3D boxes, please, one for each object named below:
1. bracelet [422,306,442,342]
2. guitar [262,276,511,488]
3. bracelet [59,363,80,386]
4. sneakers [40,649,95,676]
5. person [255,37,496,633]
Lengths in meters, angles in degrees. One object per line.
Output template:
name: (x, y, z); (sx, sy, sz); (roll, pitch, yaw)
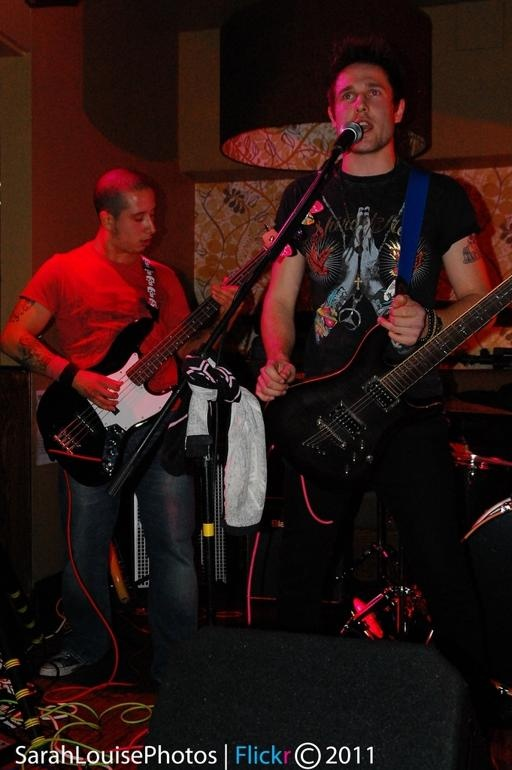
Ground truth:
bracelet: (0.364, -0.124, 1.356); (0.046, 0.060, 0.024); (3, 4, 13)
guitar: (0.213, 0.053, 1.551); (0.827, 0.245, 0.110); (-39, -2, 18)
bracelet: (-0.558, -0.032, 1.944); (0.060, 0.062, 0.060); (-21, 11, -11)
sneakers: (-0.601, 0.865, 2.047); (0.130, 0.054, 0.051); (17, 4, -29)
person: (0.257, -0.106, 1.463); (0.511, 1.256, 0.434); (2, 10, -1)
